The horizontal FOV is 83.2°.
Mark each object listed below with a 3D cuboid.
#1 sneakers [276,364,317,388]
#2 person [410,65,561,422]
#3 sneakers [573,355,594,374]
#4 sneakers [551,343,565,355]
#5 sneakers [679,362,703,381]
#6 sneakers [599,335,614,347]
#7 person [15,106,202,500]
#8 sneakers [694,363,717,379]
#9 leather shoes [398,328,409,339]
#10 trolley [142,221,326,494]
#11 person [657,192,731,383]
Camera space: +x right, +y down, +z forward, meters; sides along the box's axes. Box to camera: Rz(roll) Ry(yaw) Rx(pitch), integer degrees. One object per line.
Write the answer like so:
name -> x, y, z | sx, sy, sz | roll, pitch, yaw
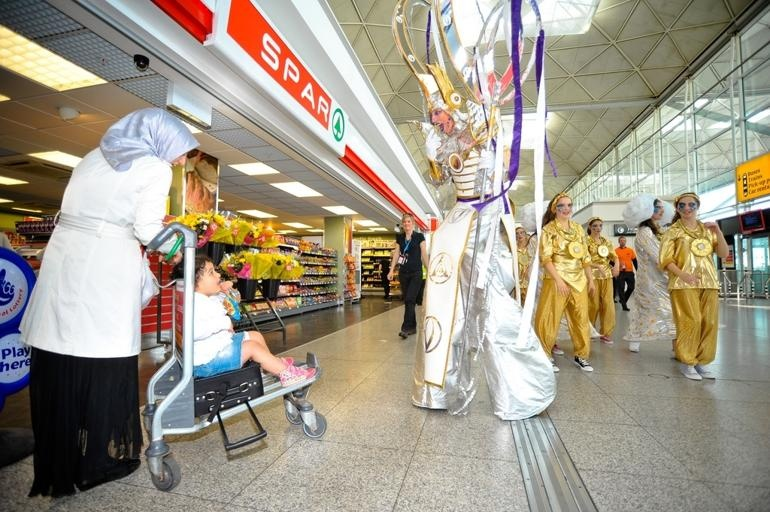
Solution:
sneakers -> -0.605, 0.813, 3.028 | 0.294, 0.129, 0.116 | -2, 8, -26
person -> 0.745, -0.086, 3.278 | 1.090, 2.583, 0.769 | 4, 14, 21
sneakers -> 2.011, 1.084, 4.391 | 0.084, 0.092, 0.243 | -7, -7, -2
sneakers -> 2.036, 1.111, 5.120 | 0.090, 0.086, 0.223 | -2, -9, 8
sneakers -> 2.865, 1.074, 4.040 | 0.166, 0.121, 0.203 | 2, 13, 15
sneakers -> 2.832, 1.068, 5.533 | 0.073, 0.074, 0.191 | -6, 3, -12
person -> -1.816, 0.239, 2.869 | 0.903, 2.308, 0.838 | 6, 3, 12
sneakers -> 3.026, 1.082, 4.105 | 0.080, 0.094, 0.229 | -5, -2, 16
leather shoes -> 0.275, 1.088, 6.142 | 0.069, 0.083, 0.195 | 4, -12, 17
trolley -> -1.041, 0.613, 3.055 | 1.220, 1.386, 0.918 | 1, -2, -36
person -> 2.902, 0.255, 4.160 | 0.525, 1.652, 0.702 | 8, 15, 33
